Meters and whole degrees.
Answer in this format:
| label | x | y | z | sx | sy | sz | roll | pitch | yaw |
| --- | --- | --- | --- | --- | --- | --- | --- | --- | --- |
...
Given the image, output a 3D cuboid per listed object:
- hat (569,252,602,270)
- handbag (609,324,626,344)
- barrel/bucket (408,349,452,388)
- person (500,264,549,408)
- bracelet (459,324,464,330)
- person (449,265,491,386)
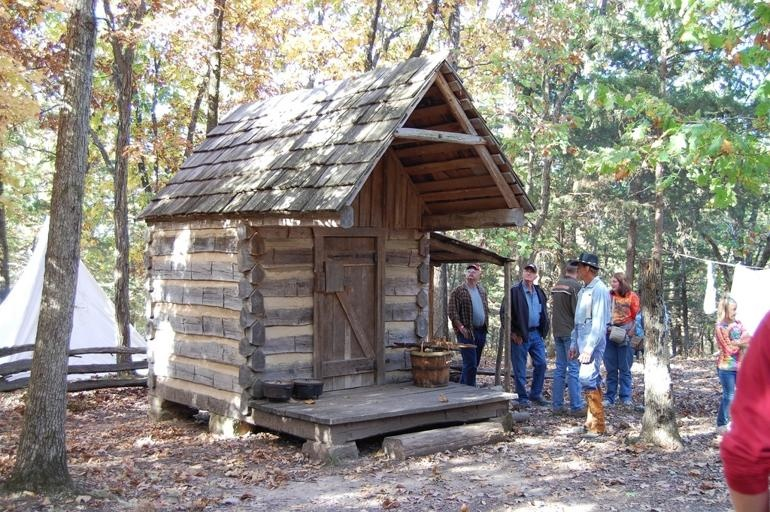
| label | x | y | z | sx | sy | sz | roll | pitch | yaw |
| --- | --- | --- | --- | --- | --- | --- | --- | --- | --- |
| hat | 3.629 | 0.080 | 13.363 | 0.413 | 0.187 | 0.468 | 10 | -4 | -27 |
| handbag | 4.689 | 1.574 | 14.527 | 0.316 | 0.334 | 0.184 | 9 | -17 | 11 |
| barrel/bucket | 0.908 | 2.180 | 14.300 | 0.880 | 0.718 | 0.933 | -1 | 0 | 0 |
| person | 3.012 | 1.655 | 15.079 | 0.856 | 2.963 | 0.471 | -4 | 6 | -23 |
| bracelet | 1.591 | 1.490 | 15.073 | 0.096 | 0.097 | 0.032 | 10 | -20 | -22 |
| person | 1.751 | 1.525 | 15.236 | 0.719 | 2.643 | 1.103 | 0 | 5 | 17 |
